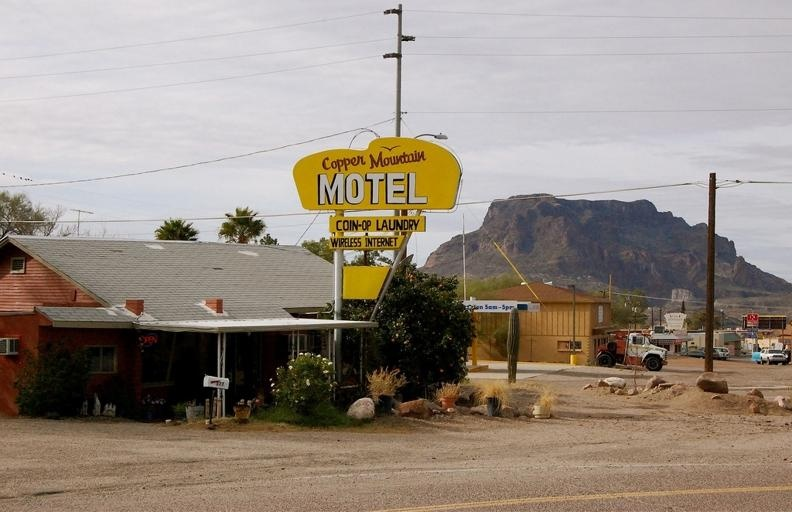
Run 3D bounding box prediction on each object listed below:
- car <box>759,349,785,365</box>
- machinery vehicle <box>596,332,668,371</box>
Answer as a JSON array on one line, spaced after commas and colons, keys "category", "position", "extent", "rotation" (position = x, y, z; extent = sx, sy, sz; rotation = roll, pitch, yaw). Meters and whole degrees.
[{"category": "car", "position": [30.595, 8.218, 103.294], "extent": [1.099, 0.779, 2.340], "rotation": [0, -7, -9]}, {"category": "machinery vehicle", "position": [15.562, 6.113, 83.337], "extent": [4.445, 2.253, 2.081], "rotation": [3, 1, 27]}]
